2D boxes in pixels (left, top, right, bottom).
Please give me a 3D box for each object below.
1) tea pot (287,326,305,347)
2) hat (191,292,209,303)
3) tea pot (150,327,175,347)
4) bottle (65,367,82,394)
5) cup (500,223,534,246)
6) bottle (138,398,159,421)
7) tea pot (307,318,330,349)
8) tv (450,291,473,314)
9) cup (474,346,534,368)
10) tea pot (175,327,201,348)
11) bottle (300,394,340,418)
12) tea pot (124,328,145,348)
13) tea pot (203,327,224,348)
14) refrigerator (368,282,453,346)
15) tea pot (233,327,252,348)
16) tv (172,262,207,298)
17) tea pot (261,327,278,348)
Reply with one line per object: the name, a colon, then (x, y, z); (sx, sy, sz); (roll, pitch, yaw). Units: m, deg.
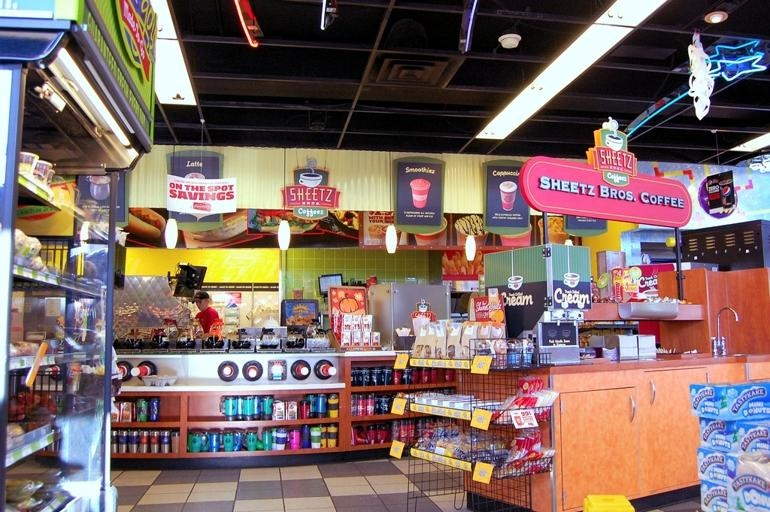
tea pot: (-1.098, 0.985, 6.980); (0.222, 0.224, 0.289); (2, 2, -2)
hat: (-2.617, 0.584, 8.085); (0.168, 0.113, 0.233); (-2, -10, 40)
tea pot: (-2.657, 0.974, 6.831); (0.260, 0.228, 0.257); (3, -6, 0)
bottle: (-1.997, 0.788, 3.608); (0.085, 0.147, 0.040); (3, 2, -8)
cup: (2.474, -0.381, 10.418); (0.478, 0.347, 0.494); (-1, -1, 0)
bottle: (-2.634, 1.701, 6.303); (0.286, 0.256, 0.180); (1, -4, -3)
tea pot: (-0.847, 1.007, 7.182); (0.270, 0.334, 0.469); (-2, 23, -6)
tv: (1.461, 0.880, 10.856); (0.355, 0.408, 0.651); (-2, -4, 7)
cup: (1.016, 0.808, 4.507); (0.321, 0.103, 0.201); (2, -9, -19)
tea pot: (-2.416, 0.990, 6.942); (0.295, 0.210, 0.706); (1, -4, -20)
bottle: (-0.760, 1.720, 6.592); (0.513, 0.241, 0.327); (2, -5, -19)
tea pot: (-3.002, 1.004, 6.788); (0.215, 0.090, 0.285); (2, 15, -14)
tea pot: (-2.107, 0.976, 6.961); (0.217, 0.244, 0.627); (0, -4, -17)
refrigerator: (0.308, 0.651, 7.984); (1.165, 1.087, 0.844); (-6, 14, 10)
tea pot: (-1.748, 0.995, 6.914); (0.215, 0.195, 0.211); (1, -1, 0)
tv: (-2.718, 0.339, 7.855); (0.406, 0.445, 0.542); (1, -5, -20)
tea pot: (-1.411, 0.997, 6.929); (0.268, 0.222, 0.182); (-1, -5, -1)
